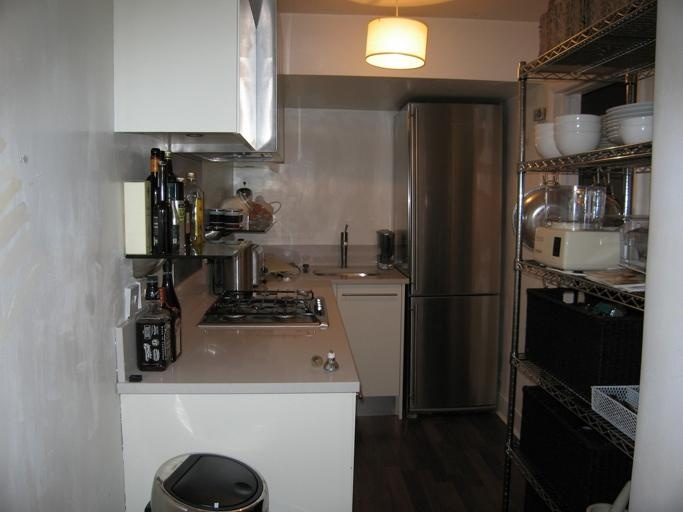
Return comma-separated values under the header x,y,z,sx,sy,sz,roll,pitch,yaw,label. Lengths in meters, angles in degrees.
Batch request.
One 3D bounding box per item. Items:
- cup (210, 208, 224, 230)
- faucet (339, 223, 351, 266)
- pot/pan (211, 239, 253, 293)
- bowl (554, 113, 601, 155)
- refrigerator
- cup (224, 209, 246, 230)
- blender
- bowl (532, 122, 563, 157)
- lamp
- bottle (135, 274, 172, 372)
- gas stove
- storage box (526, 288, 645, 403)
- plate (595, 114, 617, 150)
x,y,z,sx,sy,sz,roll,pitch,yaw,label
-0.632,-0.191,2.793,0.090,0.097,0.089,1,4,0,cup
0.029,-0.079,4.290,0.078,0.323,0.177,3,11,0,faucet
-0.622,0.042,3.089,0.241,0.314,0.451,2,11,-3,pot/pan
0.906,-0.463,2.162,0.155,0.152,0.174,-1,4,-2,bowl
0.785,0.025,3.762,0.725,2.095,0.308,1,11,-10,refrigerator
-0.527,-0.196,2.835,0.071,0.109,0.123,3,5,33,cup
0.930,-0.107,2.178,0.225,0.310,0.296,2,6,-2,blender
0.851,-0.483,2.297,0.137,0.161,0.140,-2,8,0,bowl
0.285,-1.119,2.830,0.291,0.246,0.323,3,11,3,lamp
-0.672,0.281,1.976,0.121,0.250,0.093,-1,12,-18,bottle
-0.360,0.259,2.751,0.581,0.055,0.659,2,11,-2,gas stove
0.924,0.313,2.127,0.215,0.263,0.397,0,9,-22,storage box
1.002,-0.474,2.094,0.101,0.117,0.106,-2,8,21,plate
